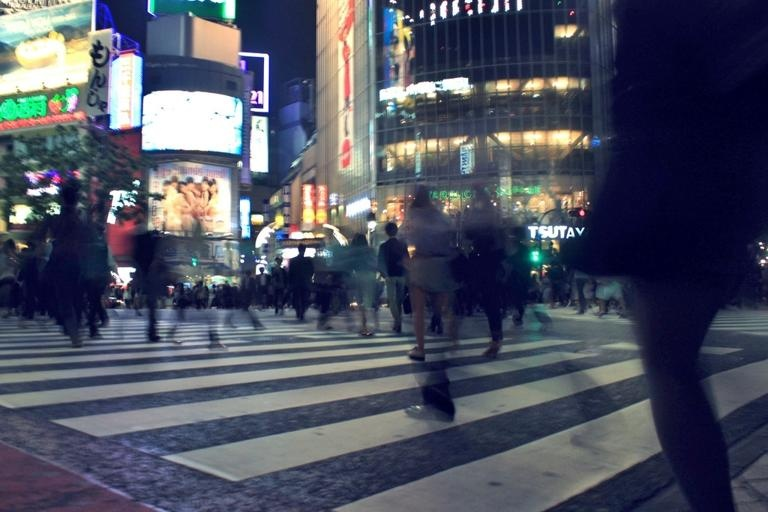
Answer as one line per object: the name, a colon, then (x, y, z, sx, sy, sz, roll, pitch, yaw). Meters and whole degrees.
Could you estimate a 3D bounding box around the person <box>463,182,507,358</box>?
person: (1.178, 0.262, 7.658, 0.432, 1.869, 1.543, -3, -2, 10)
